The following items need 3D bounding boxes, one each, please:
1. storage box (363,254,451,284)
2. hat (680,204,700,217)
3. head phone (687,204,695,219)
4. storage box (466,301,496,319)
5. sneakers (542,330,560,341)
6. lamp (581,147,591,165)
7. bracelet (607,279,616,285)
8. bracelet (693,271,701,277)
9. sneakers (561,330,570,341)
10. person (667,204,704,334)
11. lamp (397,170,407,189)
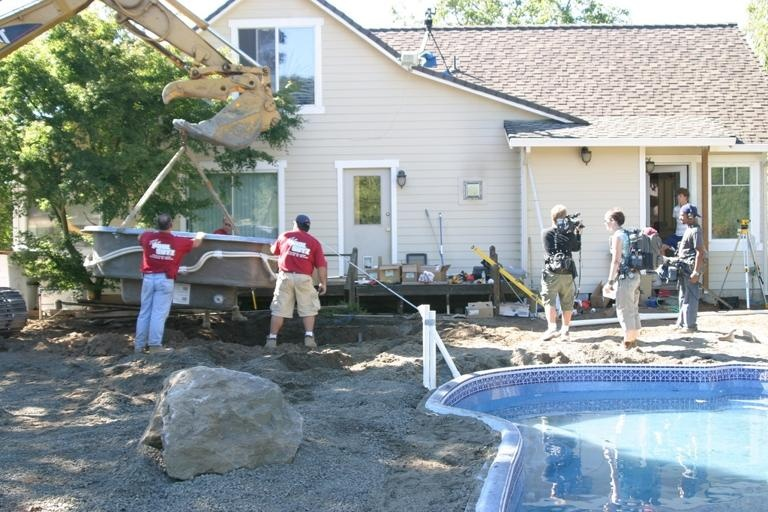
[{"bbox_3d":[0.505,0.368,22.116,1.844,0.458,0.633,-1,0,3],"label":"storage box"},{"bbox_3d":[5.936,-0.877,19.102,0.409,0.207,0.267,8,8,-22],"label":"hat"},{"bbox_3d":[5.931,-0.865,19.098,0.156,0.231,0.397,-1,-1,29],"label":"head phone"},{"bbox_3d":[2.069,1.256,21.531,0.687,0.358,0.320,0,-6,-6],"label":"storage box"},{"bbox_3d":[3.192,1.487,18.999,0.399,0.163,0.152,-13,-16,41],"label":"sneakers"},{"bbox_3d":[4.699,-2.333,23.064,0.262,0.350,0.082,-1,0,0],"label":"lamp"},{"bbox_3d":[4.168,0.438,18.114,0.089,0.082,0.106,1,-35,11],"label":"bracelet"},{"bbox_3d":[5.919,0.306,18.838,0.145,0.132,0.088,7,-6,3],"label":"bracelet"},{"bbox_3d":[3.475,1.500,19.023,0.169,0.152,0.166,-1,-1,11],"label":"sneakers"},{"bbox_3d":[5.856,0.209,19.134,0.532,2.240,0.747,-1,0,15],"label":"person"},{"bbox_3d":[0.417,-1.802,23.220,0.251,0.340,0.128,-1,0,-4],"label":"lamp"}]
